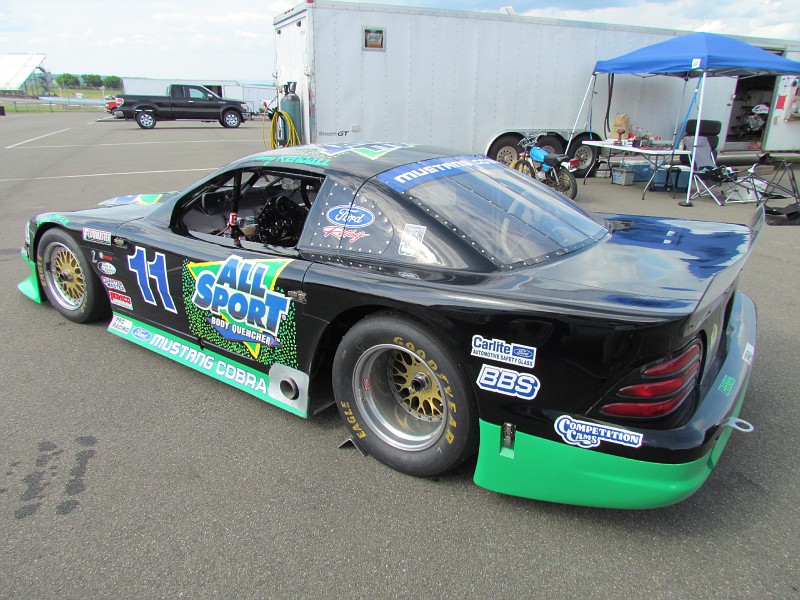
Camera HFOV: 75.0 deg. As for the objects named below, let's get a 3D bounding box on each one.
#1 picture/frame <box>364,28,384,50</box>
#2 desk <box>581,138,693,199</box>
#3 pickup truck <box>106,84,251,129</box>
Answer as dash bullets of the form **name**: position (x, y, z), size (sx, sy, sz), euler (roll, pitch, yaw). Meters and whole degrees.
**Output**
- **picture/frame**: position (-0.422, -4.160, 8.262), size (0.358, 0.290, 0.029), euler (-10, 23, -27)
- **desk**: position (4.772, -2.608, 10.354), size (0.693, 0.603, 1.719), euler (-19, 30, -17)
- **pickup truck**: position (-9.794, -8.712, 23.418), size (6.032, 1.878, 2.415), euler (-6, 27, -19)
